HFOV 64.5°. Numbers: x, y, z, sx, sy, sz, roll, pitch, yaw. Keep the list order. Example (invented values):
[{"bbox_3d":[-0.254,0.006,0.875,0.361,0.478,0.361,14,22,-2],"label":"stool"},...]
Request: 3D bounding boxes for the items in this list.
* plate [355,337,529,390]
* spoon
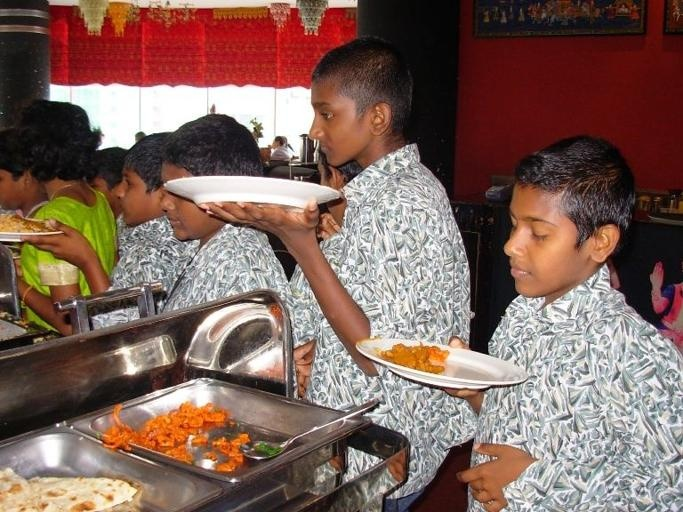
[{"bbox_3d":[0.278,0.215,1.244,0.220,0.023,0.215,4,8,-41],"label":"plate"},{"bbox_3d":[-0.071,0.361,1.173,0.267,0.102,0.152,-7,15,-36],"label":"spoon"}]
